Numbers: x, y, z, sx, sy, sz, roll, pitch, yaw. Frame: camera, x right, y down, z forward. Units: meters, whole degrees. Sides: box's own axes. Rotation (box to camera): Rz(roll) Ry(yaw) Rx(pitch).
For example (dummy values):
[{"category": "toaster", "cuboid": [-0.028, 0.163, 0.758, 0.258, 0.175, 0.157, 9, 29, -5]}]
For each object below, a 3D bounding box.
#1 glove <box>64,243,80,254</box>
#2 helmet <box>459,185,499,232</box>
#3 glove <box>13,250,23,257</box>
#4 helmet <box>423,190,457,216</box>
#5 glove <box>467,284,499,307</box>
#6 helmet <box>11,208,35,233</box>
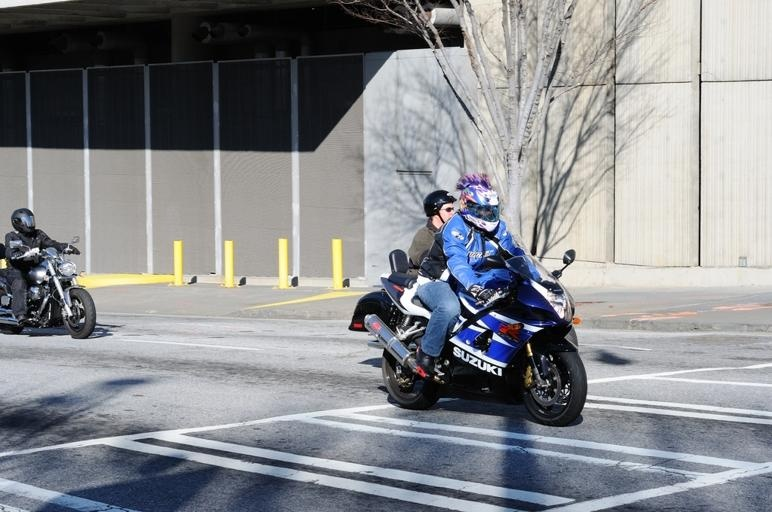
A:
[{"category": "glove", "cuboid": [-5.963, -0.137, 15.796, 0.163, 0.152, 0.277, -3, -2, -11]}, {"category": "helmet", "cuboid": [1.196, -0.581, 9.739, 0.563, 0.449, 0.432, 25, 17, 40]}, {"category": "glove", "cuboid": [-6.859, -0.066, 15.582, 0.210, 0.112, 0.027, 0, 3, 23]}, {"category": "helmet", "cuboid": [0.758, -0.755, 11.788, 0.427, 0.292, 0.372, -3, 3, 11]}, {"category": "glove", "cuboid": [1.097, 0.434, 9.424, 0.187, 0.145, 0.397, -2, 8, -28]}, {"category": "helmet", "cuboid": [-6.940, -0.700, 16.074, 0.577, 0.462, 0.459, 6, 9, 19]}]
